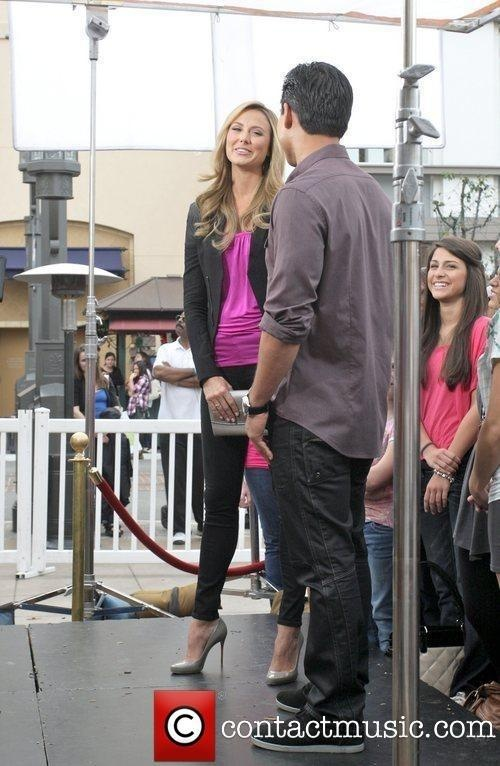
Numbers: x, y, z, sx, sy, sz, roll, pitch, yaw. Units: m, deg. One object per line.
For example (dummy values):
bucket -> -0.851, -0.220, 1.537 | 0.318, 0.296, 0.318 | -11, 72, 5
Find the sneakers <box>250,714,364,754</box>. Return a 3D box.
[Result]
sneakers -> 0.154, 1.014, 3.613 | 0.332, 0.122, 0.103 | 0, 1, 14

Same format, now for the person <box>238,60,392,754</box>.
person -> 0.199, 0.061, 3.687 | 0.430, 2.022, 0.381 | 0, 1, 5

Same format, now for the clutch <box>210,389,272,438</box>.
clutch -> -0.042, 0.128, 4.056 | 0.213, 0.210, 0.133 | 0, 0, 11

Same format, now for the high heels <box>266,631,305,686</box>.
high heels -> 0.114, 0.978, 4.243 | 0.075, 0.225, 0.092 | 8, -18, 33
